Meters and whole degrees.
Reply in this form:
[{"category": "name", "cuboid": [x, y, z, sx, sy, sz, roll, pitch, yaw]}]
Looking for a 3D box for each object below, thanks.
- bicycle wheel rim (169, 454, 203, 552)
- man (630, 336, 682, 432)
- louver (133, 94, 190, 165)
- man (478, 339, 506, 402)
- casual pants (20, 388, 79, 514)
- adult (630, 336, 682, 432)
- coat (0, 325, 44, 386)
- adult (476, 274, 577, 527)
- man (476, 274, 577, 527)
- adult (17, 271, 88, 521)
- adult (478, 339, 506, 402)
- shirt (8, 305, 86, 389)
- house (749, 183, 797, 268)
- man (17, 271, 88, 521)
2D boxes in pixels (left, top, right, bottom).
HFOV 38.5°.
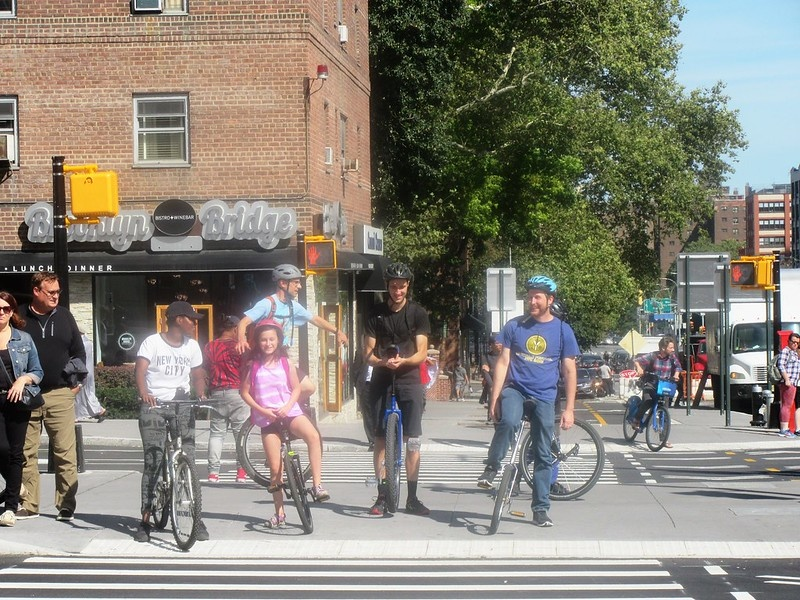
[{"category": "bicycle wheel rim", "cuboid": [-2.026, 1.973, 11.100, 0.237, 0.965, 0.520, -1, 1, -34]}, {"category": "man", "cuboid": [4.619, 1.438, 20.122, 0.800, 1.610, 0.907, 10, 17, 41]}, {"category": "louver", "cuboid": [-5.150, -3.725, 24.804, 1.205, 1.468, 0.110, 0, -3, 4]}, {"category": "man", "cuboid": [2.052, 1.601, 23.976, 0.548, 1.654, 0.452, -1, 15, -4]}, {"category": "casual pants", "cuboid": [-3.793, 1.658, 12.434, 0.594, 1.335, 0.383, 1, 0, -1]}, {"category": "adult", "cuboid": [4.661, 1.409, 20.154, 0.888, 1.551, 0.803, -18, 22, -28]}, {"category": "coat", "cuboid": [-3.911, 0.611, 11.974, 0.352, 0.648, 0.289, 0, 1, -17]}, {"category": "adult", "cuboid": [1.430, 1.056, 12.212, 0.958, 2.635, 0.941, 0, 1, 7]}, {"category": "man", "cuboid": [1.428, 1.056, 12.226, 0.965, 2.635, 0.967, 0, 1, 7]}, {"category": "adult", "cuboid": [-3.784, 1.018, 12.264, 0.860, 2.555, 0.778, 0, -1, -13]}, {"category": "adult", "cuboid": [2.041, 1.613, 24.014, 0.561, 1.697, 0.467, 0, 12, -11]}, {"category": "shirt", "cuboid": [-3.762, 0.511, 12.149, 0.800, 0.854, 0.459, -6, 1, -25]}, {"category": "house", "cuboid": [63.321, -14.052, 195.657, 6.768, 14.703, 40.196, 1, 1, 18]}, {"category": "man", "cuboid": [-3.765, 1.026, 12.240, 0.882, 2.510, 0.836, -1, -1, 1]}]
